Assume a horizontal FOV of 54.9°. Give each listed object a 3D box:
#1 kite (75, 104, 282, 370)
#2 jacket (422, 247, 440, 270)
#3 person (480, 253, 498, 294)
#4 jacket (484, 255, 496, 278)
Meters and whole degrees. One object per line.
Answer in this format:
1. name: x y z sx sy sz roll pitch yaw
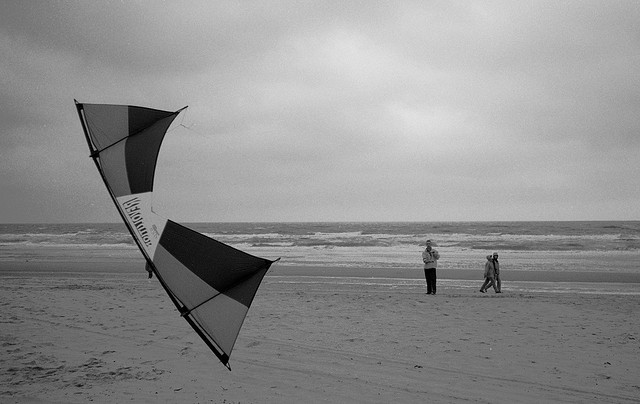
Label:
1. kite: -3.999 1.785 16.288 1.833 7.011 4.975 -15 28 31
2. jacket: 4.596 2.334 25.438 0.532 1.107 1.247 5 15 13
3. person: 7.297 3.157 26.370 0.710 1.730 1.402 5 15 15
4. jacket: 7.275 2.806 26.174 0.392 0.955 0.371 7 15 22
